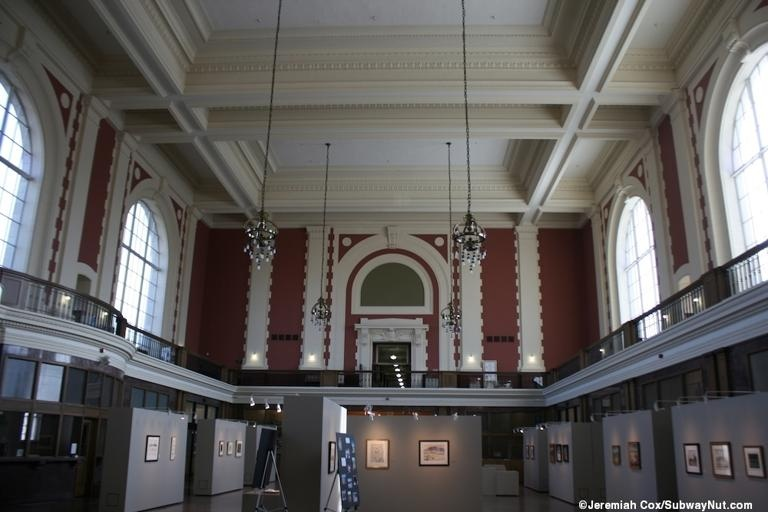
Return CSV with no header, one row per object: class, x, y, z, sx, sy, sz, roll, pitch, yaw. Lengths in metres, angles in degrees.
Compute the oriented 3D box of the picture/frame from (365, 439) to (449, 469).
picture/frame,0.653,5.522,14.520,2.297,0.736,0.256,0,-22,1
